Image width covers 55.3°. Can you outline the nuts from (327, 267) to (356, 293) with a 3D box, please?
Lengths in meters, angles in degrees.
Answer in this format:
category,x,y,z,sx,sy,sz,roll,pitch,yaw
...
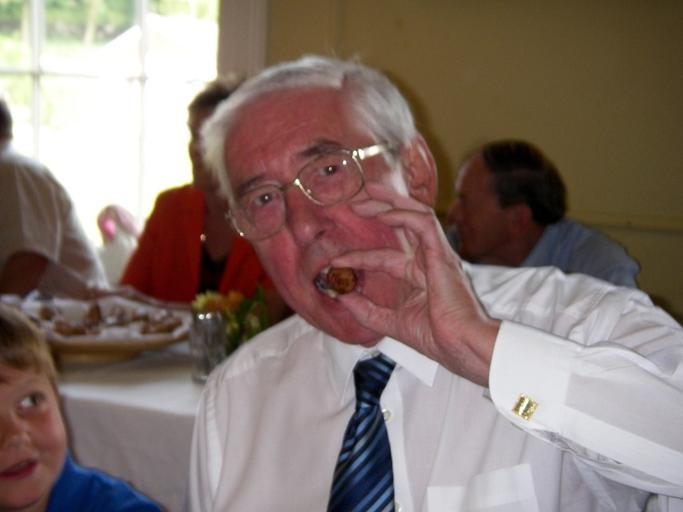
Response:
category,x,y,z,sx,sy,sz,roll,pitch,yaw
nuts,-0.003,0.052,1.410,0.061,0.049,0.059,6,21,7
